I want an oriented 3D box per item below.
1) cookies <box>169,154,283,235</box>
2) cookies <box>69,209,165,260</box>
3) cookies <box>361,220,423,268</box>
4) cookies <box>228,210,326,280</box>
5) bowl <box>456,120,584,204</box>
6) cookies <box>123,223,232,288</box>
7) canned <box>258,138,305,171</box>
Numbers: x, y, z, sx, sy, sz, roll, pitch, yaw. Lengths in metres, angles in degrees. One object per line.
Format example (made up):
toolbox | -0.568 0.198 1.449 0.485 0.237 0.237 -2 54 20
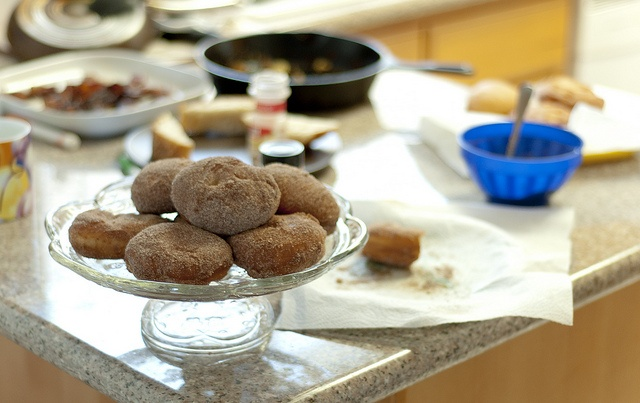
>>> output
cookies | -0.101 -0.010 0.633 0.098 0.044 0.096 -17 38 -35
cookies | -0.240 0.038 0.651 0.091 0.028 0.064 3 10 -12
cookies | 0.107 0.059 0.833 0.086 0.049 0.070 4 43 9
cookies | -0.044 0.049 0.641 0.107 0.038 0.072 -27 46 -24
bowl | 0.333 -0.065 0.959 0.180 0.090 0.162 -7 24 -13
cookies | -0.162 0.054 0.611 0.086 0.027 0.073 4 17 -1
canned | -0.074 -0.084 0.971 0.067 0.056 0.067 21 31 37
